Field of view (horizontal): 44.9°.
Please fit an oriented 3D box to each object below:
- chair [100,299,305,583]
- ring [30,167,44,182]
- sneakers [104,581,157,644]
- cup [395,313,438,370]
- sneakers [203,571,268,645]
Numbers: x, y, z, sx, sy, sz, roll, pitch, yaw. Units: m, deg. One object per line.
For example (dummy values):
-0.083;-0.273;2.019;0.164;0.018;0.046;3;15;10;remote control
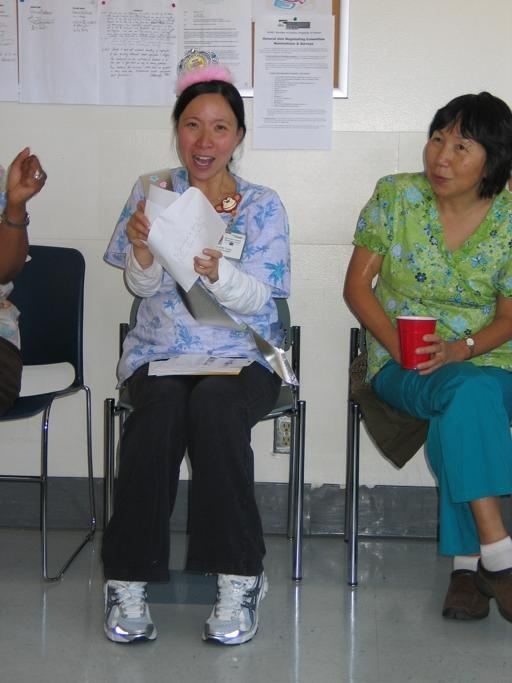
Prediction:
-0.142;0.280;1.323;0.327;0.527;0.478;1;-8;2;chair
-0.537;-0.412;1.528;0.025;0.033;0.011;-10;11;-20;ring
-0.272;0.583;1.328;0.069;0.081;0.177;2;1;-11;sneakers
0.378;0.006;1.475;0.086;0.126;0.125;1;0;14;cup
-0.037;0.578;1.404;0.106;0.089;0.255;-5;14;19;sneakers
